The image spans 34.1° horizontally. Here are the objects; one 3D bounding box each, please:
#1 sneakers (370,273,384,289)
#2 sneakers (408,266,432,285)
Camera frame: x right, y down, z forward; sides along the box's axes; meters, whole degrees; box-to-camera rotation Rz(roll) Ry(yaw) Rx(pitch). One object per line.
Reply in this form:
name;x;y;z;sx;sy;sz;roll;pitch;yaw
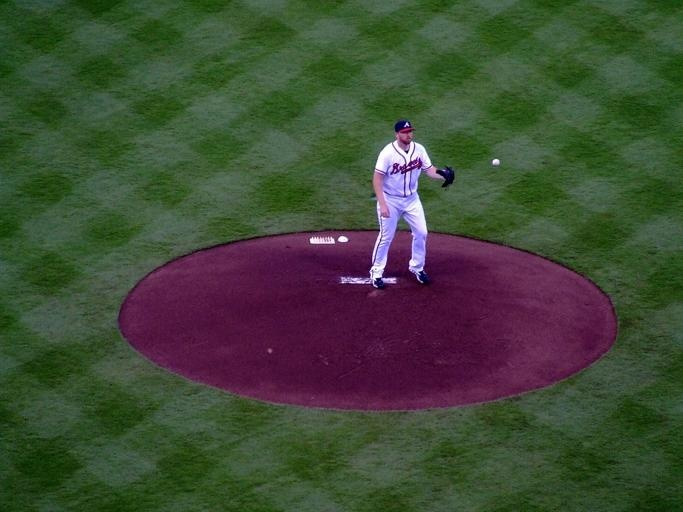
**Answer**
sneakers;0.453;0.335;14.506;0.132;0.093;0.254;-9;27;-24
sneakers;1.008;0.265;14.606;0.151;0.318;0.132;-42;-20;-30
